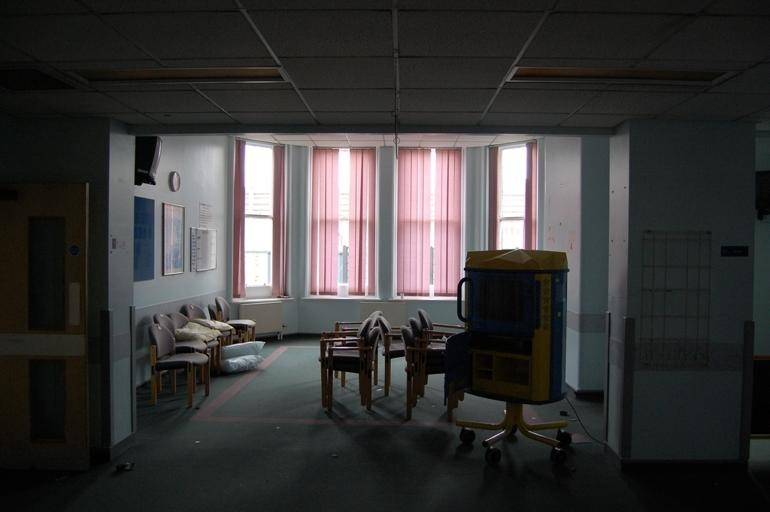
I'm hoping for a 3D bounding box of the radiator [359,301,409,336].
[{"bbox_3d":[-0.015,1.017,8.942,0.696,0.482,0.140,4,-5,-2],"label":"radiator"}]

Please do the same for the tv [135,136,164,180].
[{"bbox_3d":[-2.854,-1.160,6.652,0.299,0.563,0.333,-5,13,-23],"label":"tv"}]
